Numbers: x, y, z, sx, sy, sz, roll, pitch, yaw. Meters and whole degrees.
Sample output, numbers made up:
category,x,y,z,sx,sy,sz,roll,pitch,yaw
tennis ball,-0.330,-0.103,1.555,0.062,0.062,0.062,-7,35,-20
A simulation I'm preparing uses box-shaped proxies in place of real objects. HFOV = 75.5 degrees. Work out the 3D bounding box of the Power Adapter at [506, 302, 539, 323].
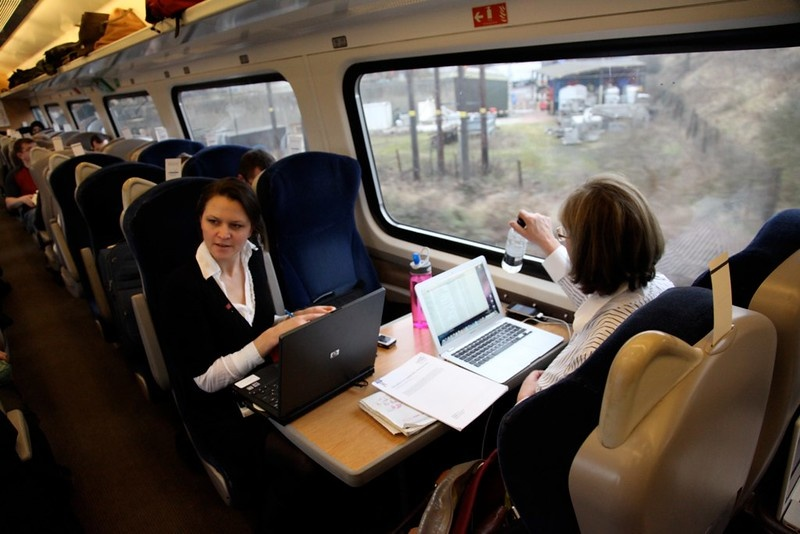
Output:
category,x,y,z,sx,sy,sz,roll,pitch,yaw
Power Adapter,0.661,0.242,2.803,0.105,0.027,0.107,14,22,35

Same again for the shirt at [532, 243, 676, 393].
category,x,y,z,sx,sy,sz,roll,pitch,yaw
shirt,0.719,0.170,1.827,0.352,0.487,0.412,-24,36,-15

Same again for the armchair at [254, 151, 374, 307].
category,x,y,z,sx,sy,sz,roll,pitch,yaw
armchair,-0.537,-0.211,3.122,0.557,0.766,0.644,-29,51,-31
